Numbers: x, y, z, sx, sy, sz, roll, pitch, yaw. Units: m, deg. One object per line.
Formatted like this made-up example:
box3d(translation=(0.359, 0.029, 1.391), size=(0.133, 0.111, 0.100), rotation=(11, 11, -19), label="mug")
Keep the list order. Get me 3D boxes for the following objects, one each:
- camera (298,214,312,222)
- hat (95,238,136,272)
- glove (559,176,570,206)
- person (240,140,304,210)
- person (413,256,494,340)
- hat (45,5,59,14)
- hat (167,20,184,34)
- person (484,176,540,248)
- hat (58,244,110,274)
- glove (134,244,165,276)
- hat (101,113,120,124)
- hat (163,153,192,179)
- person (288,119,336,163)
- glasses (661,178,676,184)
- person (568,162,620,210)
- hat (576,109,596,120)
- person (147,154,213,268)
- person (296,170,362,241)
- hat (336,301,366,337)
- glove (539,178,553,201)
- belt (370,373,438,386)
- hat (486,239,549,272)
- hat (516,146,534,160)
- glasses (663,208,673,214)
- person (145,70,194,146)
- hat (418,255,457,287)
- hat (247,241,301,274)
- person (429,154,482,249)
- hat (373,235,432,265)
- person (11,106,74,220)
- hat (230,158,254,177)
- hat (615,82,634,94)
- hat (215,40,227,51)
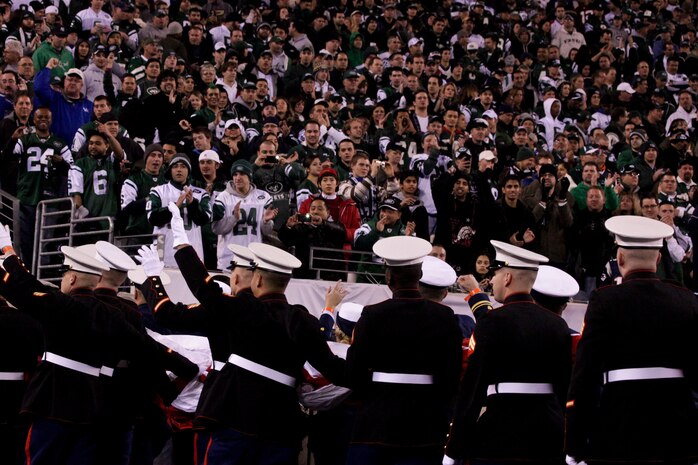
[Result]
box3d(translation=(-0.619, -0.184, 15.527), size=(0.164, 0.103, 0.087), rotation=(0, -6, 0), label="camera")
box3d(translation=(-2.435, 0.268, 11.699), size=(0.370, 0.146, 0.329), rotation=(27, 27, 0), label="hat")
box3d(translation=(3.290, -0.601, 17.223), size=(0.151, 0.511, 0.133), rotation=(-31, -63, 30), label="glove")
box3d(translation=(-1.052, -0.640, 16.680), size=(0.749, 1.612, 0.464), rotation=(0, 37, 1), label="person")
box3d(translation=(1.117, 0.737, 12.178), size=(0.581, 0.380, 1.263), rotation=(-23, -39, 22), label="person")
box3d(translation=(-5.552, -4.124, 20.972), size=(0.284, 0.149, 0.196), rotation=(-7, 17, -11), label="hat")
box3d(translation=(-3.289, -3.861, 21.222), size=(0.235, 0.162, 0.272), rotation=(-2, 27, -6), label="hat")
box3d(translation=(2.454, -0.294, 16.730), size=(0.661, 1.120, 0.803), rotation=(-1, -13, 21), label="person")
box3d(translation=(-2.736, 0.286, 11.609), size=(0.372, 0.146, 0.352), rotation=(15, 21, 15), label="hat")
box3d(translation=(-2.100, 0.315, 11.882), size=(0.303, 0.340, 0.094), rotation=(-25, -9, -9), label="glove")
box3d(translation=(-3.526, -1.672, 16.541), size=(0.233, 0.170, 0.167), rotation=(-10, 2, 15), label="hat")
box3d(translation=(-2.329, -0.938, 15.409), size=(0.284, 0.292, 0.337), rotation=(5, -39, -5), label="hat")
box3d(translation=(-0.579, -1.408, 17.753), size=(0.839, 0.647, 0.397), rotation=(-1, -12, -10), label="person")
box3d(translation=(5.069, -0.815, 17.845), size=(0.199, 0.096, 0.158), rotation=(2, -12, 7), label="glasses")
box3d(translation=(3.738, -0.610, 17.477), size=(0.803, 1.054, 0.613), rotation=(0, -23, 2), label="person")
box3d(translation=(4.674, -2.295, 22.222), size=(0.297, 0.141, 0.197), rotation=(-11, 15, -1), label="hat")
box3d(translation=(-2.296, 0.093, 15.451), size=(0.874, 2.239, 0.699), rotation=(-3, 15, -12), label="person")
box3d(translation=(-0.335, -0.208, 16.174), size=(1.049, 1.337, 0.799), rotation=(5, -9, -16), label="person")
box3d(translation=(-0.017, 0.935, 11.918), size=(0.312, 0.333, 0.373), rotation=(5, 8, 0), label="hat")
box3d(translation=(3.020, -0.670, 17.173), size=(0.251, 0.322, 0.324), rotation=(1, 9, 15), label="glove")
box3d(translation=(0.524, 1.445, 11.064), size=(0.587, 0.114, 0.064), rotation=(3, -13, 2), label="belt")
box3d(translation=(1.702, 0.264, 11.317), size=(0.403, 0.136, 0.364), rotation=(11, 1, -1), label="hat")
box3d(translation=(2.890, -1.288, 18.620), size=(0.248, 0.177, 0.186), rotation=(-20, -9, 31), label="hat")
box3d(translation=(4.794, -0.305, 17.000), size=(0.095, 0.066, 0.115), rotation=(2, -16, 1), label="glasses")
box3d(translation=(-2.926, -2.034, 18.252), size=(0.759, 1.426, 1.041), rotation=(6, -13, -6), label="person")
box3d(translation=(0.917, 0.438, 11.675), size=(0.357, 0.088, 0.316), rotation=(20, 24, -6), label="hat")
box3d(translation=(-0.754, 0.262, 11.332), size=(0.398, 0.148, 0.359), rotation=(13, 16, 7), label="hat")
box3d(translation=(1.559, -0.320, 16.461), size=(0.708, 1.287, 0.637), rotation=(4, -13, 3), label="person")
box3d(translation=(0.533, 0.185, 11.305), size=(0.400, 0.102, 0.353), rotation=(0, 25, -4), label="hat")
box3d(translation=(-4.390, -1.013, 16.013), size=(0.867, 1.484, 0.375), rotation=(8, -13, -14), label="person")
box3d(translation=(-1.498, -0.894, 15.908), size=(0.225, 0.225, 0.278), rotation=(2, -16, 4), label="hat")
box3d(translation=(5.883, -3.059, 24.013), size=(0.359, 0.192, 0.263), rotation=(0, 12, 6), label="hat")
box3d(translation=(-2.395, -3.466, 20.985), size=(0.204, 0.170, 0.305), rotation=(1, 11, -12), label="hat")
